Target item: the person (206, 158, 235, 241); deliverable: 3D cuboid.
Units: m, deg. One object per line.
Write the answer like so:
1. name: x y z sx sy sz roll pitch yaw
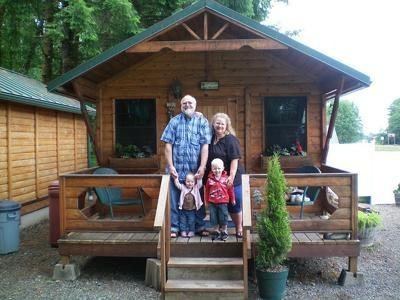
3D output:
1. person: 0.351 0.856 6.077 0.523 1.416 0.284 -1 6 -10

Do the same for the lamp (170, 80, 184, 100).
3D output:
1. lamp: -0.572 -1.450 8.528 0.389 0.566 0.405 -3 6 -3

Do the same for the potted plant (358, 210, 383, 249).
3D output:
1. potted plant: 4.152 1.986 8.735 0.723 0.803 0.770 0 -3 -2

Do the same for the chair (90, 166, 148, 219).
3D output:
1. chair: -1.794 1.000 7.588 1.006 1.213 1.602 0 6 -2
